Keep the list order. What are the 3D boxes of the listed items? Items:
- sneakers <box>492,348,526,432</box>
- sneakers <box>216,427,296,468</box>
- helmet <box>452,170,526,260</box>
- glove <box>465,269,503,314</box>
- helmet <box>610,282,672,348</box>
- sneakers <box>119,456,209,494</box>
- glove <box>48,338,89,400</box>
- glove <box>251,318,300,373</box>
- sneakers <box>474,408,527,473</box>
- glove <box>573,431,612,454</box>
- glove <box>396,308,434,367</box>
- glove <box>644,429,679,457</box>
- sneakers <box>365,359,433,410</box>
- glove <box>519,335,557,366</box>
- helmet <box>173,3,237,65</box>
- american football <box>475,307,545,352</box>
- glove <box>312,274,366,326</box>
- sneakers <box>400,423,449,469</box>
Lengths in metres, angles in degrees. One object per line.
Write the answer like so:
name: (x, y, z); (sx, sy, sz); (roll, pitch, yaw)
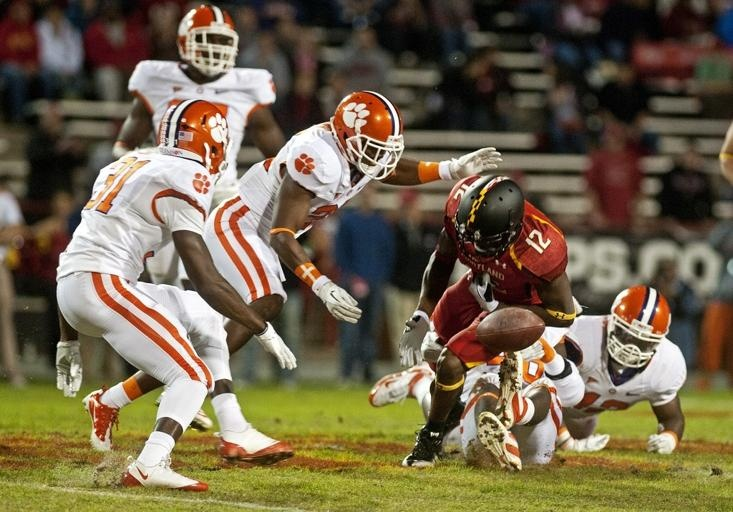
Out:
sneakers: (0.981, 0.917, 7.396); (0.171, 0.548, 0.253); (7, -4, 15)
sneakers: (-0.706, 1.289, 7.164); (0.569, 0.255, 0.205); (4, -21, -3)
helmet: (0.883, -0.258, 7.509); (0.439, 0.556, 0.480); (36, -8, 25)
glove: (0.871, 0.289, 7.731); (0.103, 0.183, 0.284); (-18, 12, -11)
helmet: (2.073, 0.421, 8.129); (0.339, 0.362, 0.446); (26, 12, -4)
sneakers: (-1.318, 1.414, 6.945); (0.621, 0.236, 0.199); (5, -11, -4)
glove: (-2.065, 0.794, 7.495); (0.208, 0.376, 0.102); (2, 9, 7)
glove: (-0.600, 0.651, 7.326); (0.215, 0.424, 0.128); (-37, 15, 8)
sneakers: (0.902, 1.283, 7.371); (0.199, 0.514, 0.237); (-34, 14, 0)
glove: (1.748, 1.450, 8.365); (0.249, 0.136, 0.411); (2, 1, 16)
glove: (0.356, 0.631, 8.116); (0.229, 0.389, 0.327); (1, 1, -6)
glove: (2.200, 1.393, 8.025); (0.219, 0.170, 0.071); (-15, 18, 13)
sneakers: (0.285, 1.097, 8.631); (0.692, 0.228, 0.292); (-19, 35, 1)
glove: (1.222, 0.698, 7.667); (0.234, 0.090, 0.175); (-24, -49, 24)
helmet: (-1.339, -1.789, 8.779); (0.389, 0.439, 0.531); (-7, 23, -32)
american football: (0.964, 0.513, 7.296); (0.408, 0.244, 0.270); (-8, 9, -3)
glove: (-0.206, 0.311, 7.412); (0.388, 0.228, 0.150); (39, -11, 3)
sneakers: (0.413, 1.347, 7.649); (0.189, 0.242, 0.553); (4, 12, 30)
